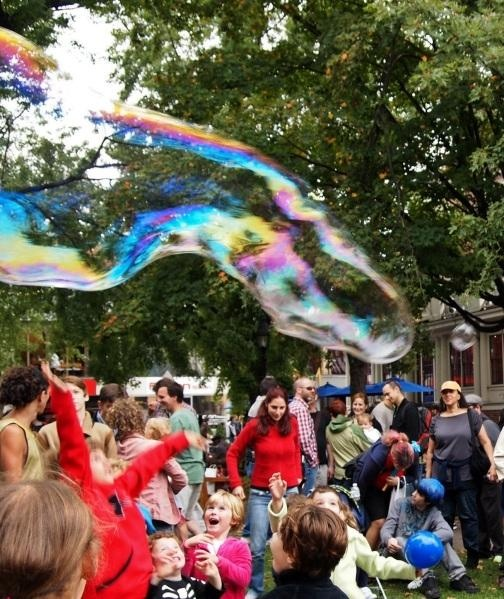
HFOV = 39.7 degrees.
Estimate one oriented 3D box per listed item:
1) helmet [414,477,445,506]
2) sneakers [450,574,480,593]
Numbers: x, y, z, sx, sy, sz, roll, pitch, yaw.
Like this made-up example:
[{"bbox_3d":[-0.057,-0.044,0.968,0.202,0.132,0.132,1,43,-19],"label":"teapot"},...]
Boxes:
[{"bbox_3d":[1.578,1.652,6.125,0.278,0.196,0.224,27,-55,-38],"label":"helmet"},{"bbox_3d":[1.846,2.485,6.108,0.101,0.102,0.259,6,-16,-27],"label":"sneakers"}]
